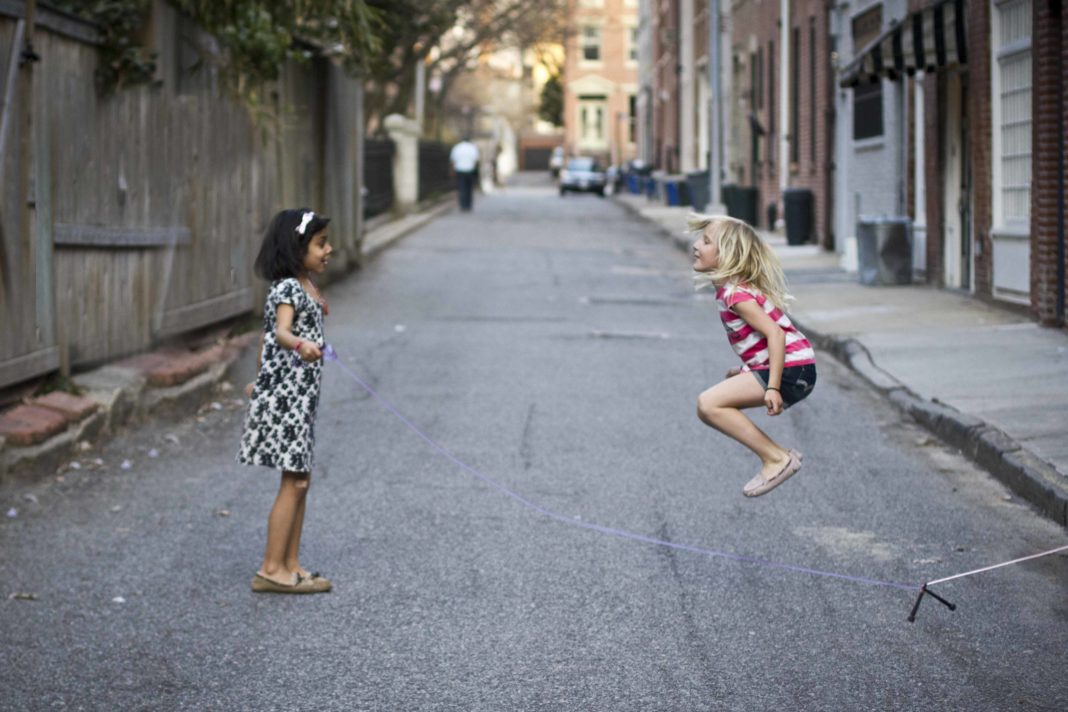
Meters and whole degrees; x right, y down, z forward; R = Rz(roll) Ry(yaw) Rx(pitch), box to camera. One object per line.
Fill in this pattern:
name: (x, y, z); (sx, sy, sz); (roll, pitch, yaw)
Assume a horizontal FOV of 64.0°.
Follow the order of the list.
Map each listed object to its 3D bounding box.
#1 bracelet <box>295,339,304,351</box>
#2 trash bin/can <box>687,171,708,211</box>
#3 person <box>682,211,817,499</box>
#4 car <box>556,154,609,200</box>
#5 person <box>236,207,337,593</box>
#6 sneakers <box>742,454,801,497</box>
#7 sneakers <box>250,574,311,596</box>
bracelet: (-1.201, -0.054, 4.404); (0.009, 0.037, 0.033); (13, -1, 44)
trash bin/can: (6.346, -6.380, 32.900); (0.712, 1.486, 3.299); (2, 11, 10)
person: (1.329, 0.048, 5.280); (0.771, 1.790, 0.607); (3, 8, 20)
car: (2.909, -10.855, 51.598); (2.979, 2.207, 2.873); (-2, 10, -11)
person: (-1.330, 0.242, 4.659); (0.514, 2.041, 0.462); (1, 7, 3)
sneakers: (1.566, 0.790, 5.584); (0.421, 0.145, 0.183); (-41, 28, -5)
sneakers: (-1.380, 1.249, 4.680); (0.307, 0.112, 0.132); (0, 5, -1)
